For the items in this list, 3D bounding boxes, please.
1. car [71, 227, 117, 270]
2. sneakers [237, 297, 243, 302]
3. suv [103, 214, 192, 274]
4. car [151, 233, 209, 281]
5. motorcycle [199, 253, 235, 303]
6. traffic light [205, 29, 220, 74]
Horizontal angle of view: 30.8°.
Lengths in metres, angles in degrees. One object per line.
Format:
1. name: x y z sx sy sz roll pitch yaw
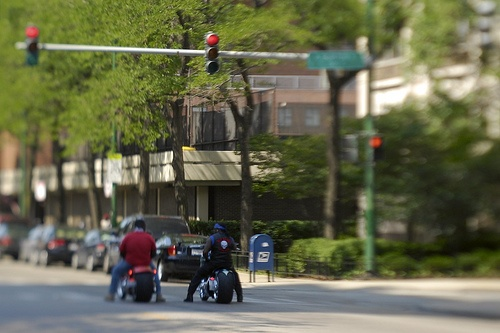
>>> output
1. car: -6.571 3.534 39.550 1.639 1.643 3.930 1 -1 -25
2. sneakers: -0.331 4.085 28.281 0.147 0.282 0.148 1 -2 7
3. suv: -4.248 2.859 35.701 1.761 1.610 3.919 1 -2 -23
4. car: -2.500 3.163 32.251 1.791 1.414 4.109 1 -3 -10
5. motorcycle: -1.052 3.724 28.395 0.767 1.002 1.760 3 -8 -11
6. traffic light: -1.356 -4.084 31.957 0.488 1.487 0.639 0 -9 -4
